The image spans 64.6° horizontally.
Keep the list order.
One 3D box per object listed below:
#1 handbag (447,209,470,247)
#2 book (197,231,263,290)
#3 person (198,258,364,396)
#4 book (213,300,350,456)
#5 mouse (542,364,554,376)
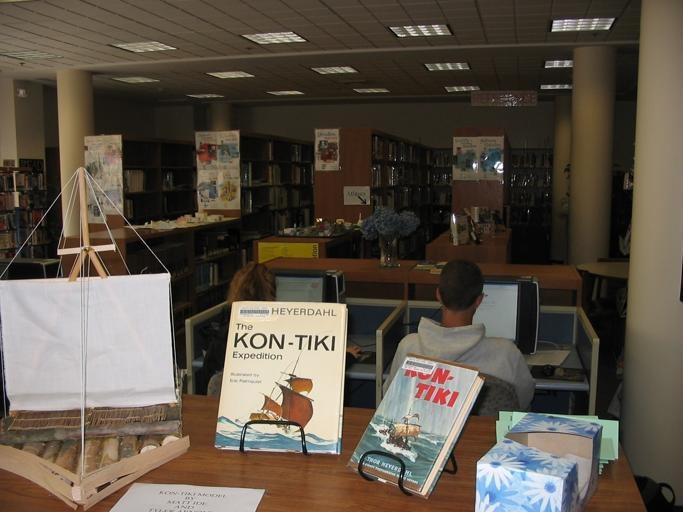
[{"bbox_3d":[1.368,-0.296,6.277,0.082,0.352,0.342,4,21,23],"label":"handbag"},{"bbox_3d":[-1.411,0.050,6.444,0.181,0.454,0.791,2,8,10],"label":"book"},{"bbox_3d":[-0.477,0.390,3.070,0.817,0.629,0.835,1,4,2],"label":"person"},{"bbox_3d":[-0.160,0.340,1.465,0.378,0.447,0.049,2,-21,12],"label":"book"},{"bbox_3d":[1.136,0.627,2.958,0.058,0.044,0.077,-1,8,22],"label":"mouse"}]
